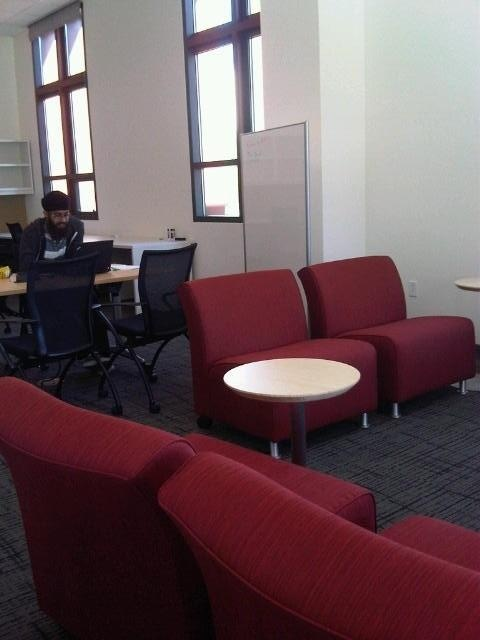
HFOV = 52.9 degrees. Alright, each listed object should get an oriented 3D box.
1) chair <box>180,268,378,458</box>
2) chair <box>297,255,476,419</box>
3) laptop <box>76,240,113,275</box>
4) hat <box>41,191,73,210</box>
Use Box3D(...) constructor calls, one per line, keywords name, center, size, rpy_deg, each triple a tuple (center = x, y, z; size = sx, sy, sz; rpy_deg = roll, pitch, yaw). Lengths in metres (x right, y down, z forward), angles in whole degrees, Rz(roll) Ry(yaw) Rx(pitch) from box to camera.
Box3D(name="chair", center=(0.248, 0.087, 3.458), size=(1.223, 1.277, 1.173), rpy_deg=(-9, 10, -39))
Box3D(name="chair", center=(1.150, -0.041, 4.007), size=(1.326, 1.277, 1.243), rpy_deg=(-10, 11, -39))
Box3D(name="laptop", center=(-1.156, -0.504, 3.822), size=(0.257, 0.252, 0.360), rpy_deg=(14, 19, 37))
Box3D(name="hat", center=(-1.626, -1.052, 4.264), size=(0.209, 0.161, 0.205), rpy_deg=(-18, 22, -42))
